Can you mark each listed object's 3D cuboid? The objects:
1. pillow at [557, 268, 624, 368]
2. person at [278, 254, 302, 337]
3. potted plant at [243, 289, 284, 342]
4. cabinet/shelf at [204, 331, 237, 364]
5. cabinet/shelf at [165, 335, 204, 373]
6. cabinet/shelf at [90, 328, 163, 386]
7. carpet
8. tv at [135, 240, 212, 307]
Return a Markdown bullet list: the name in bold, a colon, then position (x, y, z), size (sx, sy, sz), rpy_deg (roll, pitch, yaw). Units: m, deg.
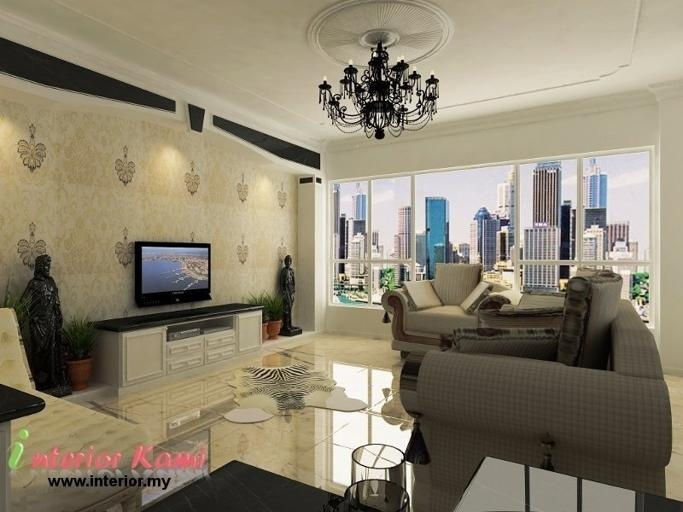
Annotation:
- **pillow**: position (1.424, 0.375, 2.595), size (0.223, 0.570, 0.575), rpy_deg (10, 7, 42)
- **person**: position (-0.784, 0.609, 7.003), size (0.359, 1.213, 0.436), rpy_deg (0, 4, -8)
- **potted plant**: position (-1.264, 0.886, 6.630), size (0.562, 0.818, 0.606), rpy_deg (0, -3, -35)
- **cabinet/shelf**: position (-1.426, 1.063, 5.360), size (0.277, 0.320, 0.441), rpy_deg (1, 0, 40)
- **cabinet/shelf**: position (-1.710, 1.060, 4.971), size (0.349, 0.272, 0.341), rpy_deg (0, -1, 44)
- **cabinet/shelf**: position (-2.180, 0.980, 4.644), size (0.534, 0.547, 0.521), rpy_deg (-1, -1, 12)
- **carpet**: position (-0.519, 1.353, 4.665), size (1.291, 0.040, 1.518), rpy_deg (0, 4, -15)
- **tv**: position (-2.003, 0.208, 5.335), size (0.107, 0.642, 0.810), rpy_deg (0, 0, 35)
